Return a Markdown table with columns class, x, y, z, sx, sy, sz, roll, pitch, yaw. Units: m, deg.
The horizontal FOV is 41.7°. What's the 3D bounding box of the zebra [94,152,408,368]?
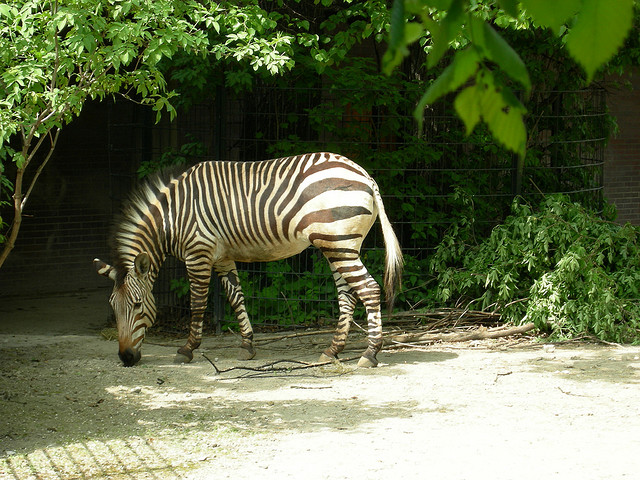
| class | x | y | z | sx | sy | sz | roll | pitch | yaw |
| --- | --- | --- | --- | --- | --- | --- | --- | --- | --- |
| zebra | -0.809 | 0.275 | 9.088 | 3.250 | 2.307 | 1.011 | -1 | 5 | 12 |
